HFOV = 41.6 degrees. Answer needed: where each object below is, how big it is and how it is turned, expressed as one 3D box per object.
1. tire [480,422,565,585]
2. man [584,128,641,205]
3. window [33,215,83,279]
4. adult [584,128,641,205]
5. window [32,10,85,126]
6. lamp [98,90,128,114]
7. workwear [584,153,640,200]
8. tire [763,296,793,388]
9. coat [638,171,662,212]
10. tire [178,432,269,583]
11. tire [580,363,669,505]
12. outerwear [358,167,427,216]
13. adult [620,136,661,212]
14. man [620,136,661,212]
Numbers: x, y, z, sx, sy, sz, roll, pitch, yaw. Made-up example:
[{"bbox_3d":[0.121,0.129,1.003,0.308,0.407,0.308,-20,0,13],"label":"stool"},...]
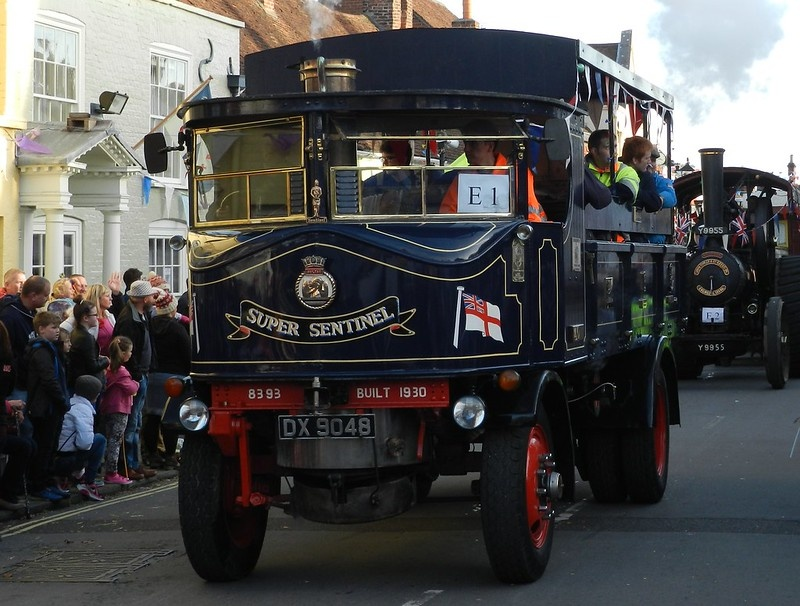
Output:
[{"bbox_3d":[0.866,1.441,7.604,0.269,1.012,0.819,-2,-24,23],"label":"tire"},{"bbox_3d":[2.059,-1.260,10.223,0.605,0.799,0.885,-5,8,0],"label":"man"},{"bbox_3d":[-5.925,-0.966,18.059,0.101,1.469,1.171,-1,0,25],"label":"window"},{"bbox_3d":[2.025,-1.276,10.106,0.511,0.802,0.389,3,21,22],"label":"adult"},{"bbox_3d":[-6.060,-4.042,18.515,0.307,1.763,1.182,-8,-4,24],"label":"window"},{"bbox_3d":[-5.254,-3.609,19.194,0.473,0.376,1.258,-7,-5,-19],"label":"lamp"},{"bbox_3d":[2.015,-1.305,10.317,0.476,0.202,0.426,-28,25,-30],"label":"workwear"},{"bbox_3d":[6.591,0.641,18.345,0.358,1.508,1.375,-2,4,15],"label":"tire"},{"bbox_3d":[2.544,-1.115,10.767,0.265,0.418,0.132,3,15,39],"label":"coat"},{"bbox_3d":[-1.318,1.490,7.798,0.334,1.228,1.020,0,3,15],"label":"tire"},{"bbox_3d":[2.078,1.225,9.875,0.411,1.376,1.131,2,11,31],"label":"tire"},{"bbox_3d":[-0.059,-0.806,7.664,0.436,0.385,0.020,0,-20,-4],"label":"outerwear"},{"bbox_3d":[2.500,-1.314,10.769,0.224,0.728,0.478,-2,-1,-35],"label":"adult"},{"bbox_3d":[2.476,-1.309,10.743,0.224,0.728,0.478,-2,-1,-35],"label":"man"}]
